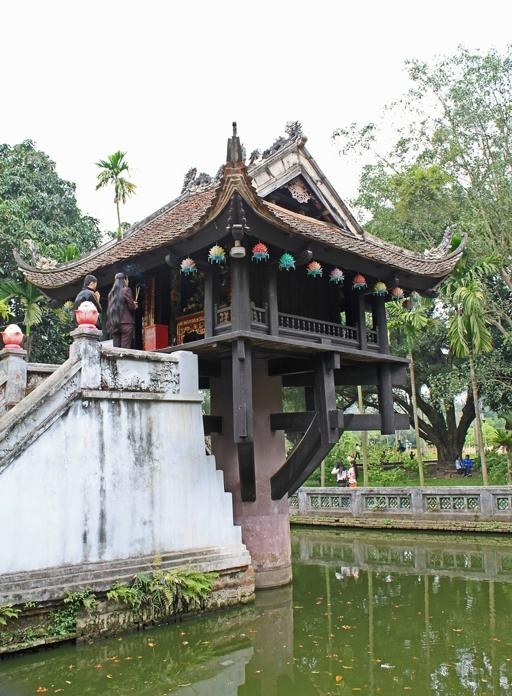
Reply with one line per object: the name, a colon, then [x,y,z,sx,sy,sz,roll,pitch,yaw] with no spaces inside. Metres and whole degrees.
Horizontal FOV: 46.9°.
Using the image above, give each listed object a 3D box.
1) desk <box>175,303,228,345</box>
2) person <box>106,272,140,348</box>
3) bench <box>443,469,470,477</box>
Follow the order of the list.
desk: [-0.932,-0.432,9.956,0.344,0.568,1.957,3,-12,-22]
person: [-2.148,-0.639,9.509,0.429,1.336,0.755,1,-12,-14]
bench: [9.571,5.854,28.070,0.766,0.466,1.569,-1,-11,-4]
